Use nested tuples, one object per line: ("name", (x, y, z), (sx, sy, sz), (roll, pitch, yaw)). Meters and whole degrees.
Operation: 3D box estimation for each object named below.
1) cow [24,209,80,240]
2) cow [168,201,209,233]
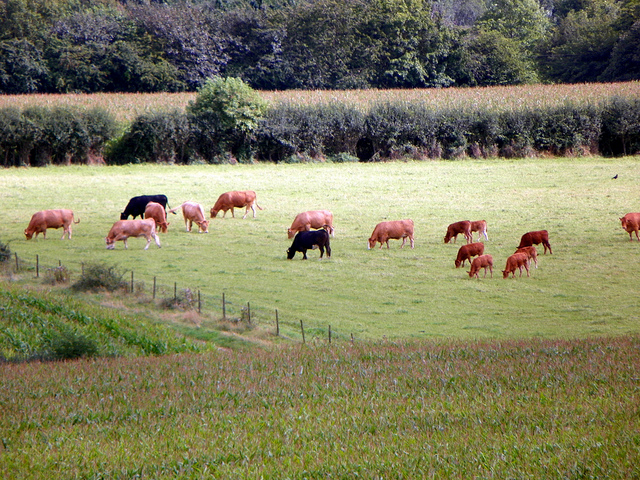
("cow", (-21.167, -1.198, 89.931), (3.389, 2.301, 1.123), (0, 7, -9))
("cow", (-10.634, -1.992, 92.971), (1.149, 2.591, 5.191), (-11, 22, -39))
